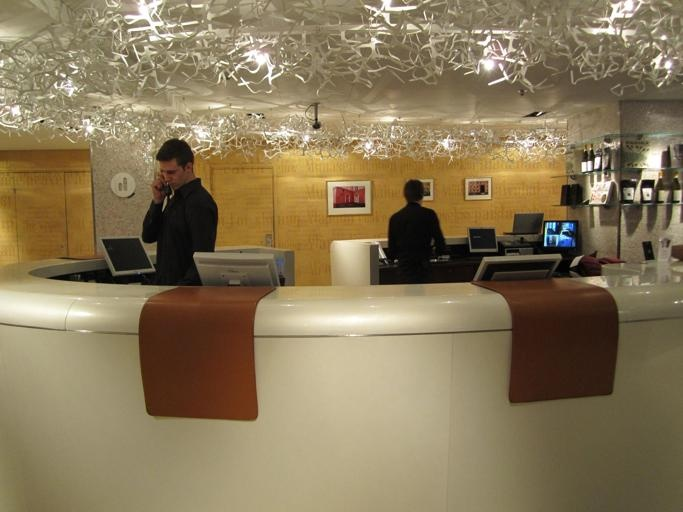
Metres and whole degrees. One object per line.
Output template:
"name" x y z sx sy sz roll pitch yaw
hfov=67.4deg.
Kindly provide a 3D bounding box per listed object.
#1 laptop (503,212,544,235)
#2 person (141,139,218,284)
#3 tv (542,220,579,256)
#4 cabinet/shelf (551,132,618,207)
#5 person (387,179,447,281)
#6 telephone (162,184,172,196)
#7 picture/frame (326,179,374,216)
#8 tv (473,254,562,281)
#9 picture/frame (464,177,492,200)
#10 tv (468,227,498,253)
"laptop" 2.935 -0.595 8.102 0.443 0.358 0.375 0 8 0
"person" -1.138 -0.315 3.633 0.447 1.013 1.086 -6 12 -27
"tv" 3.270 -0.270 7.621 0.241 0.608 0.576 2 -4 -38
"cabinet/shelf" 3.397 -1.201 7.367 1.107 1.046 0.375 -5 7 -19
"person" 0.814 -0.275 5.621 0.592 1.107 0.347 1 11 8
"telephone" -1.332 -0.504 3.907 0.059 0.106 0.053 -9 -19 -11
"picture/frame" 0.150 -1.169 10.049 0.876 0.719 0.031 -1 30 -2
"tv" 1.018 0.064 3.001 0.436 0.166 0.163 1 10 -14
"picture/frame" 2.675 -1.353 10.194 0.417 0.384 0.032 -1 1 -4
"tv" 2.139 -0.235 7.818 0.352 0.319 0.051 1 -13 -5
